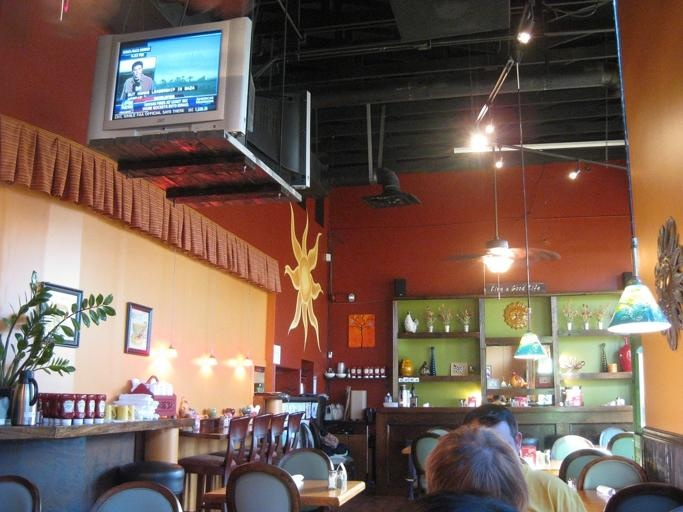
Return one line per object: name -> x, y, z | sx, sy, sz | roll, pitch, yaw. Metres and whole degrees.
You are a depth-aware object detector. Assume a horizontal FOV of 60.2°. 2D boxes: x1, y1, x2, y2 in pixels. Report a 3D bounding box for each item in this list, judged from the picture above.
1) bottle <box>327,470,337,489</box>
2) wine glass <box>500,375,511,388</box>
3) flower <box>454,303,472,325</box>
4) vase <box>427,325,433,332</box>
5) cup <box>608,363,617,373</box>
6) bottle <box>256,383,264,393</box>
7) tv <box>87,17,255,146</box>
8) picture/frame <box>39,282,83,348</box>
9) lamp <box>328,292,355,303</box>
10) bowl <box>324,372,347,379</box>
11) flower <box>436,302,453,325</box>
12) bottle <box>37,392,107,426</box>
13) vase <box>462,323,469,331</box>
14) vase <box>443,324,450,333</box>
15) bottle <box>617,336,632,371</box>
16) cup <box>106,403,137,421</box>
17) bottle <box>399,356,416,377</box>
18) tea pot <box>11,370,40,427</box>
bottle -> -0.076, 1.809, 4.744 | 0.086, 0.169, 0.092 | 2, -8, 0
wine glass -> 3.006, 2.319, 10.854 | 0.139, 0.200, 0.193 | 0, -18, 9
flower -> 2.298, 1.122, 11.255 | 0.315, 0.412, 0.305 | -15, -24, 41
vase -> 1.667, 1.382, 11.169 | 0.092, 0.111, 0.098 | 2, -10, 0
cup -> 4.794, 1.984, 10.392 | 0.134, 0.168, 0.140 | 3, -5, 0
bottle -> -1.284, 2.050, 9.135 | 0.033, 0.140, 0.137 | 6, -5, -38
tv -> -1.282, -1.213, 4.719 | 1.232, 0.921, 0.715 | -4, -17, 9
picture/frame -> -2.538, 0.530, 5.274 | 0.084, 0.706, 0.493 | -13, -16, 26
lamp -> 0.012, 0.836, 11.901 | 0.425, 0.175, 0.253 | 1, -6, 3
bowl -> -0.113, 2.341, 11.543 | 0.483, 0.154, 0.223 | -2, -13, 0
flower -> 1.959, 1.108, 11.234 | 0.248, 0.452, 0.309 | -4, -20, 19
bottle -> -2.204, 1.215, 4.776 | 0.373, 0.178, 0.265 | 2, -9, 5
vase -> 2.330, 1.344, 11.088 | 0.112, 0.132, 0.116 | 7, -9, -20
vase -> 1.965, 1.367, 11.095 | 0.108, 0.159, 0.119 | 5, -12, -3
bottle -> 5.000, 1.741, 10.438 | 0.204, 0.617, 0.285 | -6, -13, 20
cup -> -2.014, 1.430, 5.376 | 0.215, 0.167, 0.128 | 1, -10, 0
bottle -> 1.222, 2.075, 11.169 | 0.272, 0.328, 0.274 | -2, 13, -34
tea pot -> -2.449, 1.098, 4.577 | 0.204, 0.413, 0.264 | 7, -15, -35
